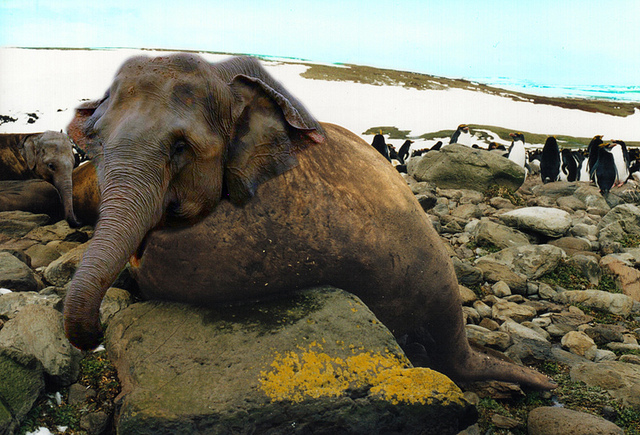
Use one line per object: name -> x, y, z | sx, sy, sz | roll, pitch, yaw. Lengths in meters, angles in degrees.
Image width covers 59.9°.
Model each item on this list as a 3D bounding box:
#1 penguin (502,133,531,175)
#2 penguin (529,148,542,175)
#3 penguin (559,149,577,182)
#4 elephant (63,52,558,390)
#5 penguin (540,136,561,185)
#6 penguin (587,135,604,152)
penguin -> 5.033, -1.611, 13.977 | 0.674, 0.993, 0.645 | -18, 20, -28
penguin -> 5.857, -1.473, 15.210 | 0.409, 0.703, 0.302 | -3, 0, -8
penguin -> 6.192, -1.262, 13.863 | 0.462, 0.813, 0.673 | 8, 14, 23
elephant -> -0.172, 0.249, 4.678 | 3.578, 1.525, 1.712 | 23, -26, -38
penguin -> 5.660, -1.381, 13.638 | 0.481, 1.189, 0.329 | 22, -23, -15
penguin -> 6.612, -1.806, 13.432 | 0.194, 0.564, 0.227 | 25, 4, -42
